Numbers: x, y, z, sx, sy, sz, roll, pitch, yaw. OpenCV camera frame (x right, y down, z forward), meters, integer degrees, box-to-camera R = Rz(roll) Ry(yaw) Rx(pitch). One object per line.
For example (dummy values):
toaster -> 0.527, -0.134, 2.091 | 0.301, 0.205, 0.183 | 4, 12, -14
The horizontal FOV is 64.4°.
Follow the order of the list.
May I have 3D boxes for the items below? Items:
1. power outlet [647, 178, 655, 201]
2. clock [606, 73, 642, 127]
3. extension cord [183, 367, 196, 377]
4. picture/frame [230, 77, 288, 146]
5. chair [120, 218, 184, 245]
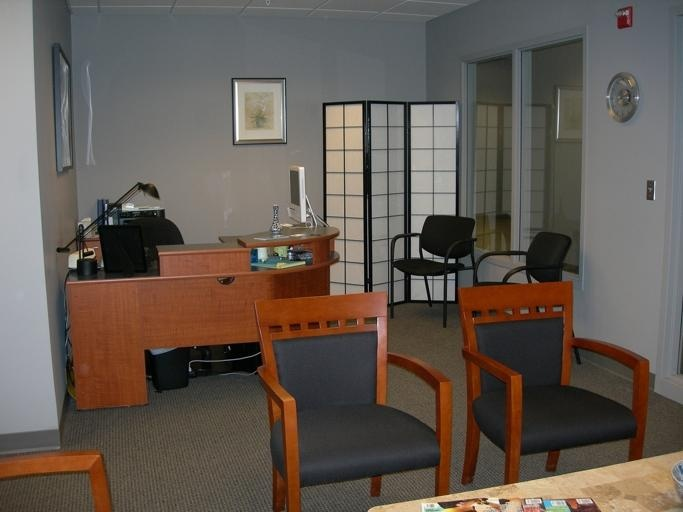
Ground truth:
power outlet -> 2.285, -0.490, 4.000 | 0.022, 0.160, 0.081 | -4, 12, -15
clock -> 2.173, -1.225, 4.182 | 0.057, 0.380, 0.304 | -4, 12, -12
extension cord -> -1.207, 0.914, 4.286 | 0.103, 0.054, 0.149 | 1, 9, -9
picture/frame -> -0.989, -1.709, 6.289 | 0.754, 0.900, 0.062 | -3, 5, -20
chair -> -1.602, -0.234, 4.798 | 0.263, 0.143, 0.363 | 0, 15, -11
